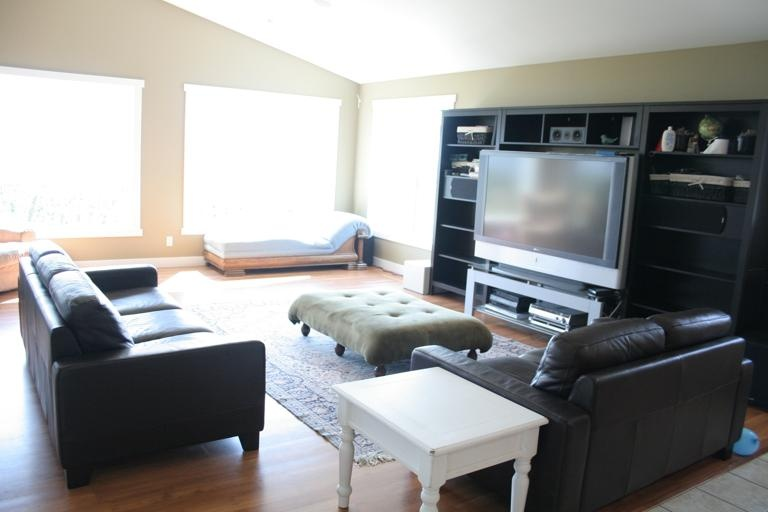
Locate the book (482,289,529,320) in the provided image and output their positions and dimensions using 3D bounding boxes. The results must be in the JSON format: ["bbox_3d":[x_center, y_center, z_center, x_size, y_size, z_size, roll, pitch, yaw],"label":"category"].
[{"bbox_3d":[1.356,0.507,5.704,0.312,0.188,0.407,-6,17,-34],"label":"book"}]

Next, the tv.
[{"bbox_3d":[1.738,-0.362,5.231,0.152,0.991,1.450,-5,15,-38],"label":"tv"}]

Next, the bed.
[{"bbox_3d":[-1.457,-0.191,7.628,1.582,0.562,1.210,-2,9,-26],"label":"bed"}]

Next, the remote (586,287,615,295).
[{"bbox_3d":[2.054,0.337,5.032,0.140,0.037,0.102,-5,9,-29],"label":"remote"}]

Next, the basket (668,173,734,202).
[{"bbox_3d":[2.708,-0.600,4.543,0.272,0.178,0.412,-12,18,-36],"label":"basket"}]

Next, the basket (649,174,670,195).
[{"bbox_3d":[2.478,-0.670,4.839,0.230,0.206,0.168,-5,12,-33],"label":"basket"}]

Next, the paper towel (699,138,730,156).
[{"bbox_3d":[2.810,-0.936,4.491,0.178,0.135,0.220,9,17,32],"label":"paper towel"}]

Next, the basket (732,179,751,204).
[{"bbox_3d":[2.936,-0.547,4.389,0.083,0.197,0.166,3,15,11],"label":"basket"}]
